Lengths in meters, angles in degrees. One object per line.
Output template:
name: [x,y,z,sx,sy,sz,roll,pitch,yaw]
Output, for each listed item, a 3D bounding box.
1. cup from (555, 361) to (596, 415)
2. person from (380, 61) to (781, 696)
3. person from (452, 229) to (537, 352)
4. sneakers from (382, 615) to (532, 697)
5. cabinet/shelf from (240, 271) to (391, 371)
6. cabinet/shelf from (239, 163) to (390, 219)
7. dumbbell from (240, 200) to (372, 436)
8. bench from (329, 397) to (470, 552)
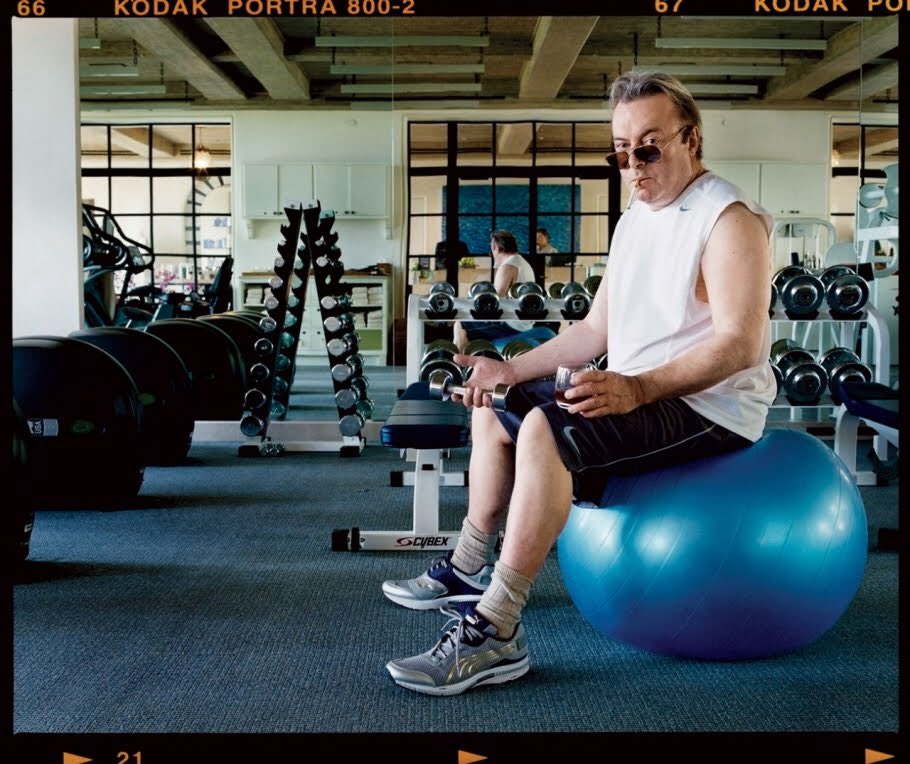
cup: [0.229,0.023,1.431,0.079,0.078,0.074,0,6,0]
person: [0.218,-0.038,1.654,0.987,1.188,0.685,-4,6,-23]
person: [0.301,-0.768,5.924,0.610,1.166,0.647,-2,11,-44]
sneakers: [0.012,0.542,1.534,0.303,0.162,0.097,-1,6,-8]
cabinet/shelf: [-1.059,-0.508,6.146,1.435,0.925,0.483,0,1,1]
cabinet/shelf: [-1.659,-2.316,8.975,2.006,0.760,0.672,0,-2,1]
dumbbell: [-0.831,-0.362,4.109,0.608,1.319,0.686,4,6,6]
bench: [-0.120,0.306,2.414,0.401,0.450,0.480,3,8,-1]
